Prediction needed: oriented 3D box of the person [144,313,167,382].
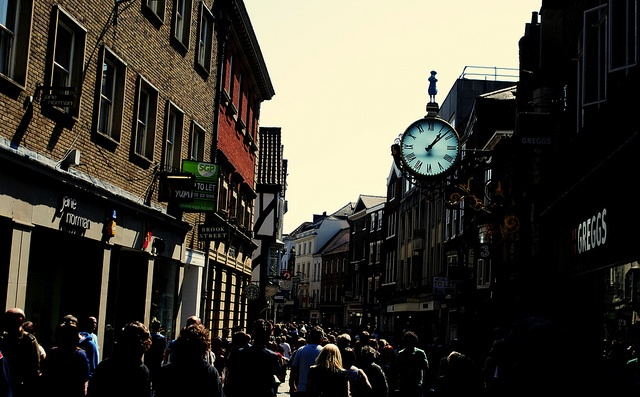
[{"bbox_3d":[-3.634,3.487,19.261,0.549,1.759,0.453,5,17,-9],"label":"person"}]
